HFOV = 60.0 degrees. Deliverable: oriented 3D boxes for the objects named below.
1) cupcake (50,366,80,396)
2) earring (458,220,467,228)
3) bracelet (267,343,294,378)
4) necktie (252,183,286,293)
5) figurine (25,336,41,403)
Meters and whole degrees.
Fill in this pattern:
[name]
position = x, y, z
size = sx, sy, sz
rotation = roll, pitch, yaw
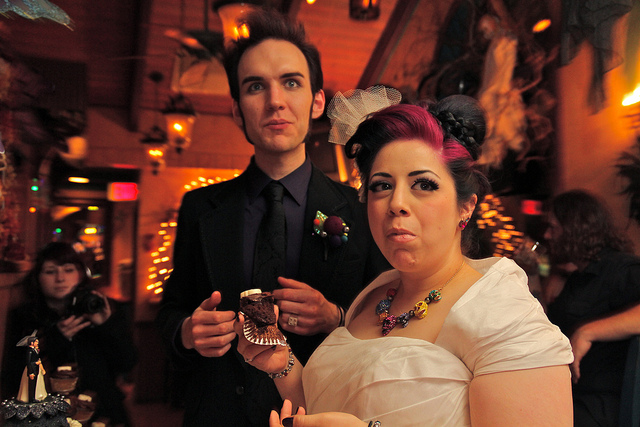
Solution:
[cupcake]
position = -1.915, 1.268, 4.148
size = 0.226, 0.250, 0.281
rotation = -2, -9, -13
[earring]
position = 0.729, 0.054, 2.826
size = 0.036, 0.012, 0.037
rotation = -21, 47, -41
[bracelet]
position = -0.211, 0.779, 2.996
size = 0.149, 0.185, 0.048
rotation = -16, 3, -12
[necktie]
position = -0.300, 0.133, 3.272
size = 0.193, 0.644, 0.084
rotation = 0, -9, -6
[figurine]
position = -1.527, 0.827, 2.951
size = 0.072, 0.341, 0.170
rotation = 4, -10, -26
